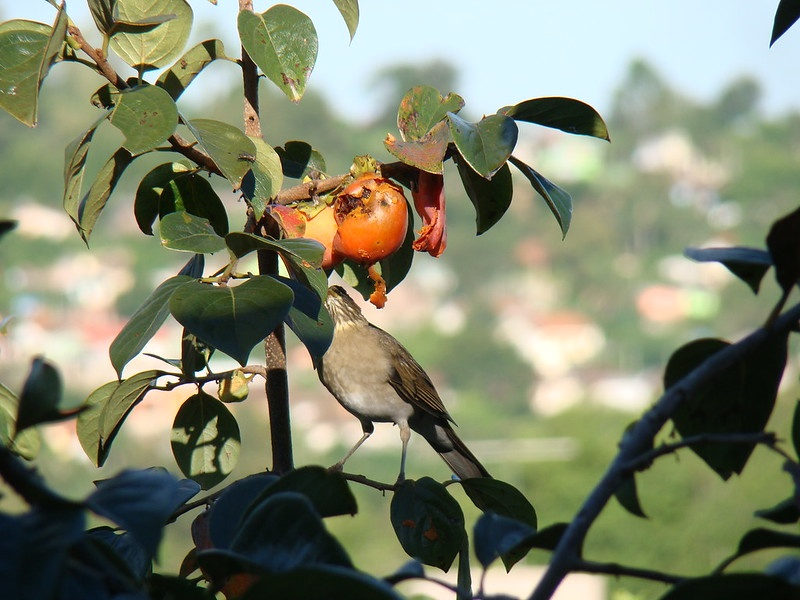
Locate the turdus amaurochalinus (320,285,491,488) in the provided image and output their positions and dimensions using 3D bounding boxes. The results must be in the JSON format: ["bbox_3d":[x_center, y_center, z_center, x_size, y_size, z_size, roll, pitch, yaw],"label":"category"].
[{"bbox_3d":[-0.016,0.372,5.714,0.347,0.840,1.116,0,-7,40],"label":"turdus amaurochalinus"}]

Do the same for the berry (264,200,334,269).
[{"bbox_3d":[-0.357,-0.254,4.715,0.206,0.247,0.214,-9,11,-30],"label":"berry"}]

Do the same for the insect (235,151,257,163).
[{"bbox_3d":[-0.554,-0.514,4.648,0.046,0.040,0.019,6,0,25],"label":"insect"}]
